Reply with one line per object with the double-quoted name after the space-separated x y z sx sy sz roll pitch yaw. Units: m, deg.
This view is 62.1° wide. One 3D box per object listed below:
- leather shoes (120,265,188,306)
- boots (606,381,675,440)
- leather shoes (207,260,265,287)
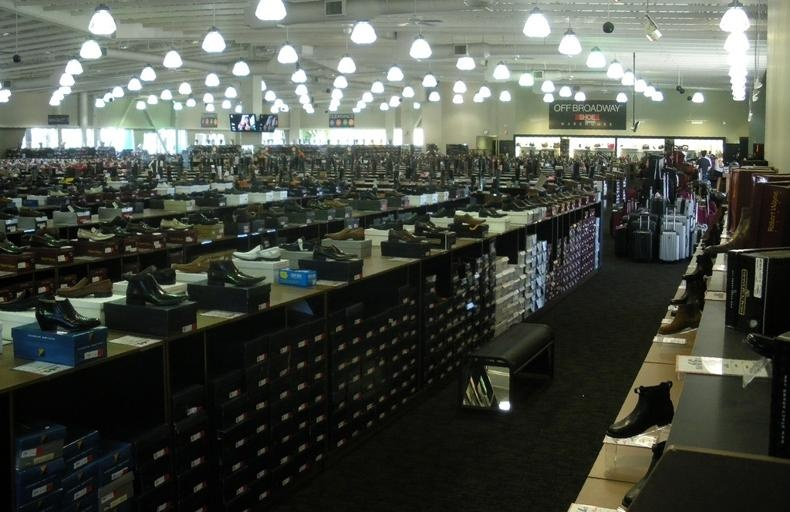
-1.689 0.228 4.516 0.509 0.270 0.182 2 3 4 "leather shoes"
1.485 0.942 3.979 0.178 0.298 0.466 6 -19 -32 "boots"
-1.208 0.131 4.947 0.380 0.169 0.245 4 12 18 "leather shoes"
